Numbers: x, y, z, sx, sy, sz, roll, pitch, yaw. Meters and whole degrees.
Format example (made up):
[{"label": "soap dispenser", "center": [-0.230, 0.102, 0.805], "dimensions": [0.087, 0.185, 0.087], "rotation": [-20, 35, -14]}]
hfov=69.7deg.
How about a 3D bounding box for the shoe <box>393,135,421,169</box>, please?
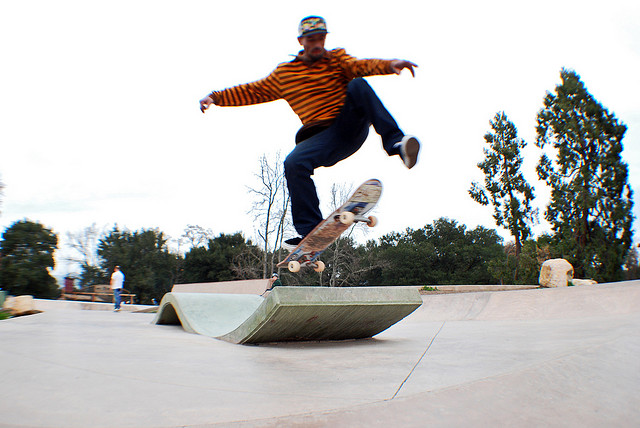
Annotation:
[{"label": "shoe", "center": [0.834, -0.579, 4.277], "dimensions": [0.156, 0.250, 0.181], "rotation": [3, -9, 18]}]
